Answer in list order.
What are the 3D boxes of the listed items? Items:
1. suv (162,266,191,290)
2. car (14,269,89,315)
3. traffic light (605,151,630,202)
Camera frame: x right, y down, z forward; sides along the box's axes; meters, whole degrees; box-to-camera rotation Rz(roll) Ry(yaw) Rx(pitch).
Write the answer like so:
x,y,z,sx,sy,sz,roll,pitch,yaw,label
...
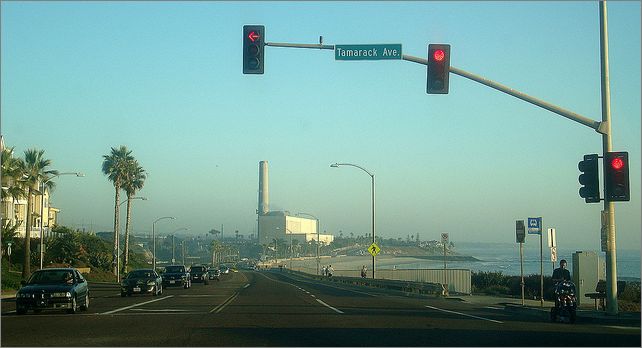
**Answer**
x,y,z,sx,sy,sz,roll,pitch,yaw,label
-15.353,10.989,79.026,3.008,2.354,2.268,-1,-8,11,suv
-20.259,8.944,56.650,4.898,3.427,1.952,3,-8,-22,car
21.217,0.325,53.688,1.115,3.659,1.391,-1,-1,37,traffic light
